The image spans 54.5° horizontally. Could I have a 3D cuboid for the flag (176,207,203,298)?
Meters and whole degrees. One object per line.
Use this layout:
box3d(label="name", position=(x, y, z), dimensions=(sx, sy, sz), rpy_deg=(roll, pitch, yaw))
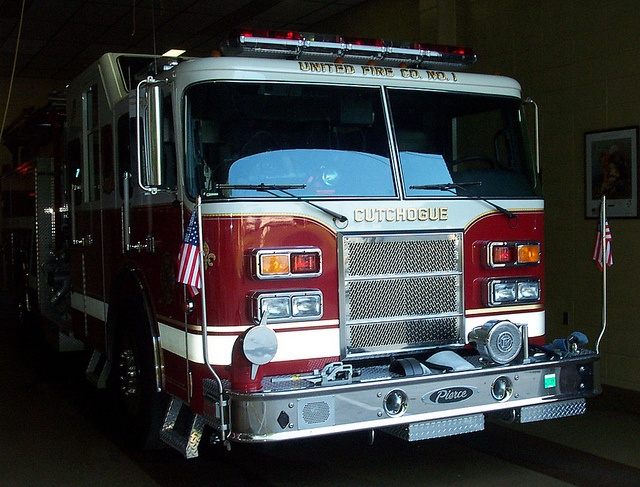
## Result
box3d(label="flag", position=(-0.891, 0.064, 4.265), dimensions=(0.150, 0.639, 0.369), rpy_deg=(-1, 3, -12))

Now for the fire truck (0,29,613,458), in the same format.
box3d(label="fire truck", position=(-1.037, -0.245, 7.036), dimensions=(2.346, 2.728, 6.807), rpy_deg=(-1, 4, -23))
